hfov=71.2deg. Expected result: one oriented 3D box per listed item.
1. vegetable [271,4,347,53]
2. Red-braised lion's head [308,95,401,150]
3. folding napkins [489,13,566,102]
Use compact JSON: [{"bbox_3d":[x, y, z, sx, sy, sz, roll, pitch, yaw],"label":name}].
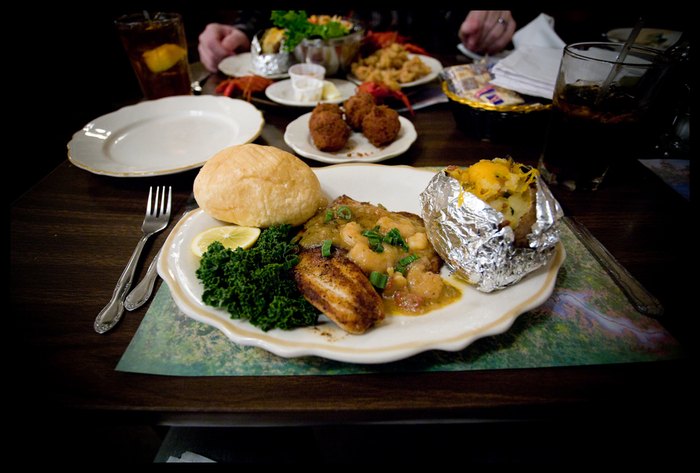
[{"bbox_3d":[-0.326,-1.916,4.345,0.686,0.352,0.586,-2,48,-2],"label":"vegetable"},{"bbox_3d":[0.037,-0.827,3.546,0.667,0.275,0.455,-5,48,-6],"label":"Red-braised lion's head"},{"bbox_3d":[1.344,-1.258,3.513,0.409,0.146,0.502,23,56,13],"label":"folding napkins"}]
